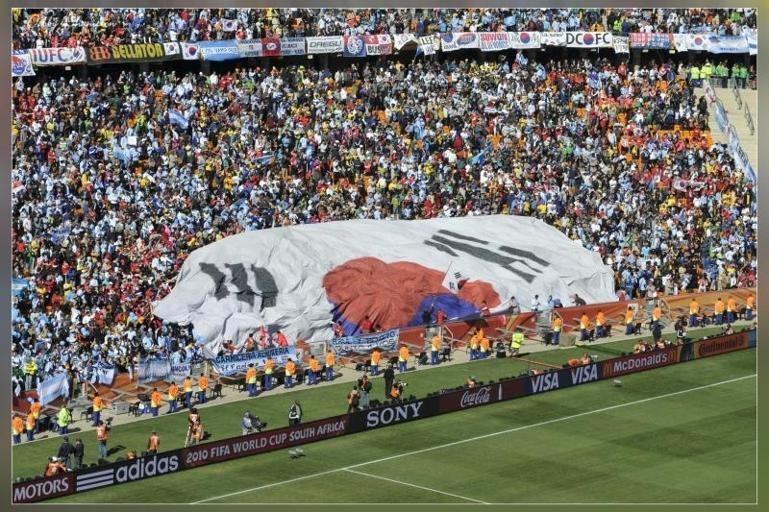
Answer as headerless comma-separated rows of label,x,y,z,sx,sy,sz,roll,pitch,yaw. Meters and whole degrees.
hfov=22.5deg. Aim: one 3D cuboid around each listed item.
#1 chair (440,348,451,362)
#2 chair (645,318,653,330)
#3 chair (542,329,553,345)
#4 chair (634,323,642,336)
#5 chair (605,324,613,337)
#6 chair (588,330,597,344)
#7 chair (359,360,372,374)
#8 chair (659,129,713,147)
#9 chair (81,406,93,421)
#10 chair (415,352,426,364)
chair,1.918,2.974,59.657,0.325,0.503,0.363,0,13,-8
chair,8.486,2.124,61.636,0.248,0.288,0.814,-4,2,5
chair,5.134,2.484,60.521,0.357,0.461,0.358,0,-2,-12
chair,8.093,2.224,61.391,0.186,0.294,0.459,-4,2,7
chair,7.139,2.280,61.160,0.263,0.336,0.244,-10,30,-17
chair,6.544,2.470,60.752,0.261,0.491,0.269,11,33,19
chair,-0.551,3.277,58.379,0.344,0.412,0.354,0,-1,45
chair,11.056,-4.347,69.220,1.846,0.597,0.746,3,-14,6
chair,-8.641,4.496,56.008,0.352,0.347,0.408,-5,2,-11
chair,1.163,3.079,59.303,0.292,0.387,0.330,0,-2,25
